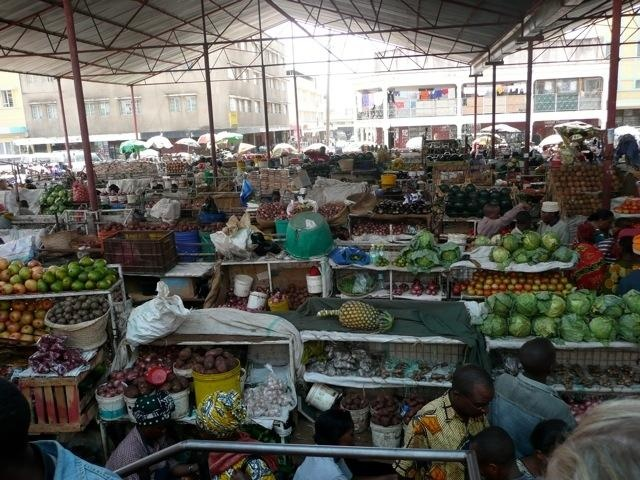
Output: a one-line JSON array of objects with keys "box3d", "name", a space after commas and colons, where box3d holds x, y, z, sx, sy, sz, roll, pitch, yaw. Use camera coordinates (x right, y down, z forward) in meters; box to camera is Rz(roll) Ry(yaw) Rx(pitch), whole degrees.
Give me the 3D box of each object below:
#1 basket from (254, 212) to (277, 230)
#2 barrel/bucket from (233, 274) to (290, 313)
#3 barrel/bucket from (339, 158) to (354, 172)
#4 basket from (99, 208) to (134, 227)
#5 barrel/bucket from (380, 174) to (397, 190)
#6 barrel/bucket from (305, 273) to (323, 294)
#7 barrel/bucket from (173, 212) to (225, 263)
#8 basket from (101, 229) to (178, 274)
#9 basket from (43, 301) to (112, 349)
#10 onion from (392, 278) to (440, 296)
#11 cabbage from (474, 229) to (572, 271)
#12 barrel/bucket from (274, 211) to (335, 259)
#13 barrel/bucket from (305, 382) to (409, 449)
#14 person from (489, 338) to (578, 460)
[{"box3d": [-0.867, -0.284, 7.422, 0.320, 0.162, 0.250, 3, 4, 17], "name": "basket"}, {"box3d": [-0.847, 0.698, 6.793, 0.931, 0.401, 0.588, -1, 14, -2], "name": "barrel/bucket"}, {"box3d": [0.703, -1.996, 12.678, 0.424, 0.217, 0.361, -4, 8, -6], "name": "barrel/bucket"}, {"box3d": [-3.763, -0.434, 8.928, 0.854, 0.251, 0.532, 2, 12, 4], "name": "basket"}, {"box3d": [1.403, -1.217, 9.960, 0.442, 0.300, 0.374, -1, 5, -1], "name": "barrel/bucket"}, {"box3d": [-0.086, 0.618, 6.794, 0.299, 0.215, 0.265, -2, 4, -6], "name": "barrel/bucket"}, {"box3d": [-1.896, -0.062, 7.334, 0.709, 0.692, 0.724, 3, 16, -1], "name": "barrel/bucket"}, {"box3d": [-2.496, 0.165, 6.882, 1.130, 0.555, 0.636, 0, 15, 4], "name": "basket"}, {"box3d": [-2.583, 0.851, 5.249, 0.747, 0.473, 0.499, -1, 13, -8], "name": "basket"}, {"box3d": [1.274, 0.617, 6.347, 0.416, 0.126, 0.264, 1, 6, 5], "name": "onion"}, {"box3d": [2.335, 0.136, 5.490, 1.532, 0.405, 0.555, 2, 12, 12], "name": "cabbage"}, {"box3d": [-0.228, -0.090, 6.808, 0.776, 0.542, 0.575, -4, 16, -32], "name": "barrel/bucket"}, {"box3d": [0.511, 1.716, 4.930, 1.226, 0.327, 0.739, 10, 18, 23], "name": "barrel/bucket"}, {"box3d": [1.551, 1.183, 3.821, 0.727, 0.808, 0.665, 7, 14, 11], "name": "person"}]
